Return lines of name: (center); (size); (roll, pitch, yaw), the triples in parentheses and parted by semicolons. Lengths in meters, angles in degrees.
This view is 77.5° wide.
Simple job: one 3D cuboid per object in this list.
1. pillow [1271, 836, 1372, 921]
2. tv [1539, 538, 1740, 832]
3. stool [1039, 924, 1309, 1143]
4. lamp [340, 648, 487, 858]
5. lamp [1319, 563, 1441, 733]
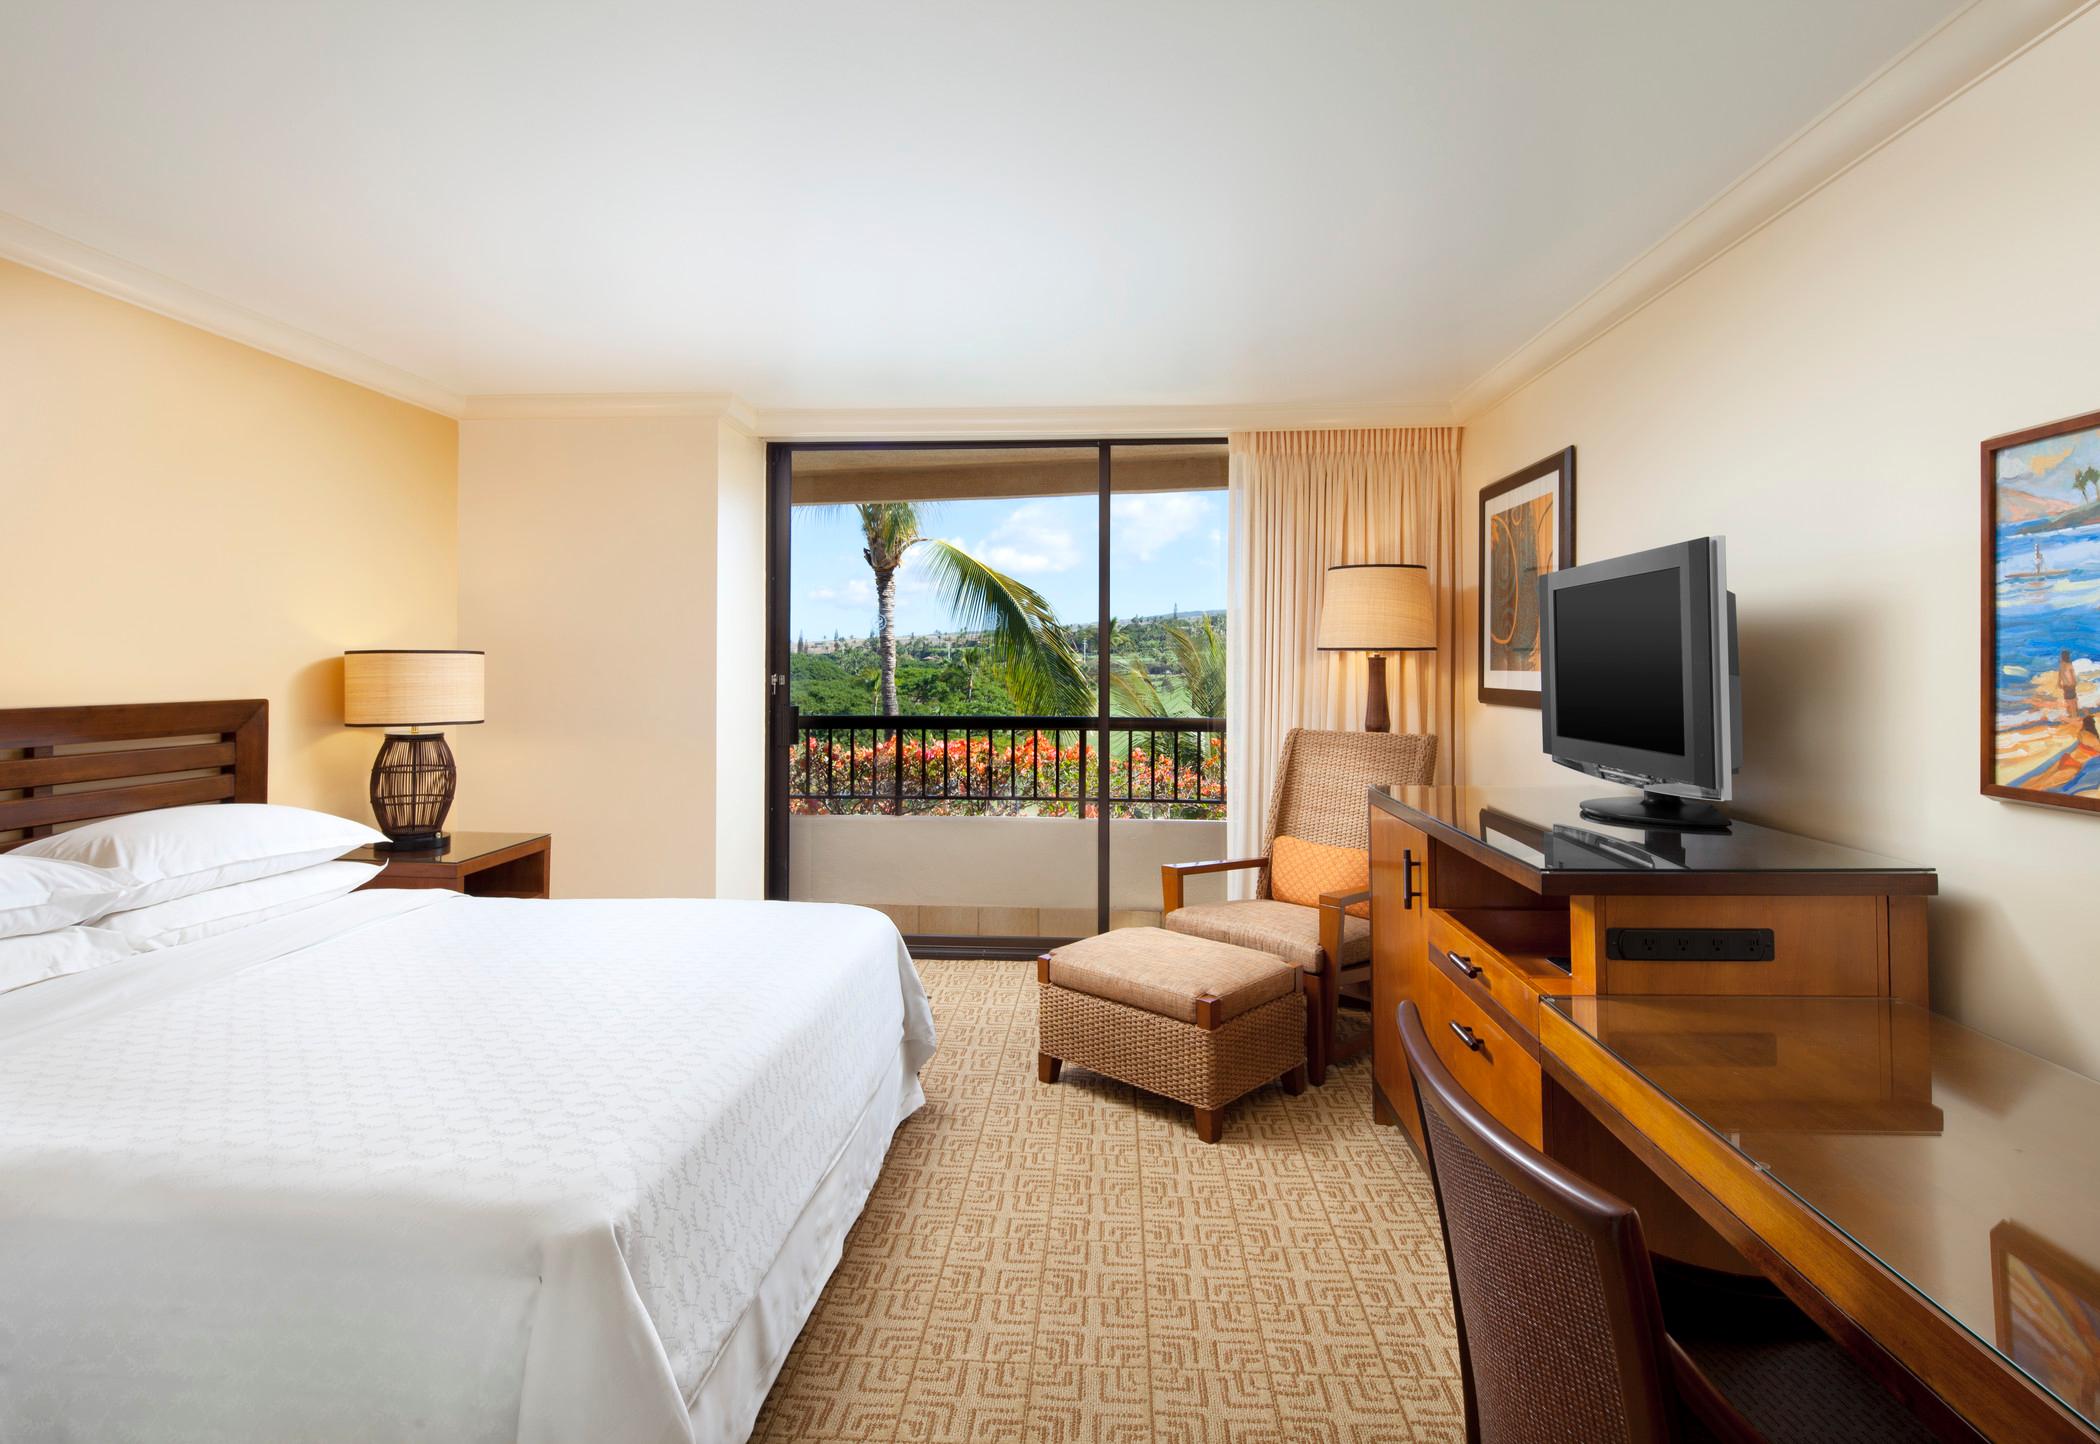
pillow: (1.021, 0.594, 4.925); (0.090, 0.182, 0.304); (18, -10, -37)
tv: (1.664, -0.095, 3.758); (0.299, 0.761, 0.873); (-4, 3, -6)
stool: (0.398, 0.997, 4.422); (0.785, 0.521, 0.526); (11, 18, 36)
lamp: (-2.449, 0.091, 5.057); (0.497, 0.783, 0.474); (0, 2, -34)
lamp: (1.370, -0.301, 5.773); (0.617, 0.914, 0.635); (0, -2, 13)
